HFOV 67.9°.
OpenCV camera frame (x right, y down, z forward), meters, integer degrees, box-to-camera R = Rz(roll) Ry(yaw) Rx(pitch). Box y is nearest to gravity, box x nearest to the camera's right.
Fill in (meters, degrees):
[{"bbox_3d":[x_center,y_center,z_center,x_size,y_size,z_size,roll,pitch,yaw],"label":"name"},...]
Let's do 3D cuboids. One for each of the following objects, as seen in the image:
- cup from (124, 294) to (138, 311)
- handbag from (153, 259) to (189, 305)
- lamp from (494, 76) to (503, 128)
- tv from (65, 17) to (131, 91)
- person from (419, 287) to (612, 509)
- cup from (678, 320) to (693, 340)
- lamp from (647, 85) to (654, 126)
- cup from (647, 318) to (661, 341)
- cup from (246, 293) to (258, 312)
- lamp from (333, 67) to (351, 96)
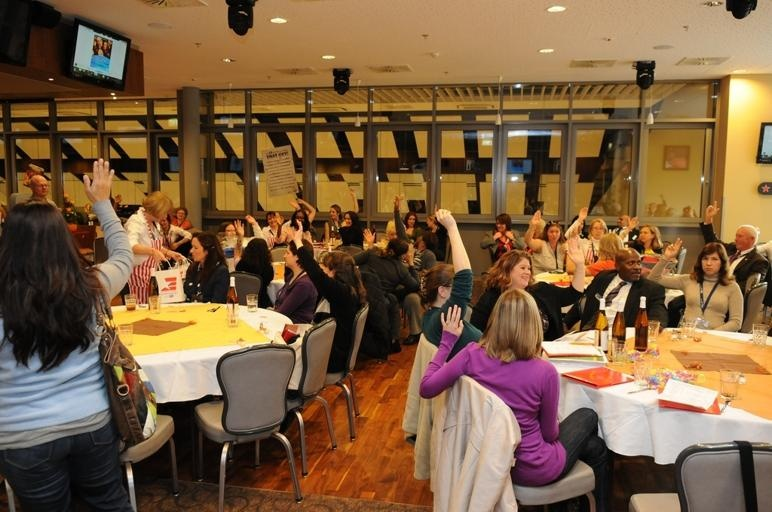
[{"bbox_3d":[-2.187,0.404,4.971,0.088,0.143,0.142,-3,-9,13],"label":"cup"},{"bbox_3d":[-1.999,0.252,5.353,0.391,0.485,0.179,-3,-5,-30],"label":"handbag"},{"bbox_3d":[2.022,-2.750,10.167,0.135,0.830,0.529,3,13,11],"label":"lamp"},{"bbox_3d":[-3.594,-2.559,7.141,0.078,0.756,0.776,9,1,30],"label":"tv"},{"bbox_3d":[0.759,0.899,3.414,0.950,1.539,0.921,8,34,34],"label":"person"},{"bbox_3d":[2.331,0.588,4.496,0.144,0.155,0.093,-1,0,-11],"label":"cup"},{"bbox_3d":[4.487,-2.588,9.704,0.141,0.645,0.682,6,14,24],"label":"lamp"},{"bbox_3d":[2.090,0.582,4.440,0.128,0.157,0.133,0,-2,0],"label":"cup"},{"bbox_3d":[-1.192,0.425,5.162,0.131,0.165,0.140,1,-2,0],"label":"cup"},{"bbox_3d":[-0.713,-2.889,9.436,0.353,0.489,0.368,0,0,-3],"label":"lamp"}]
